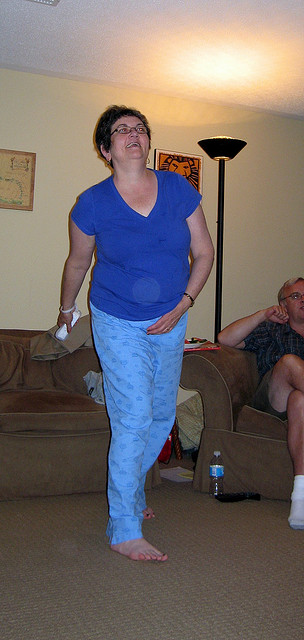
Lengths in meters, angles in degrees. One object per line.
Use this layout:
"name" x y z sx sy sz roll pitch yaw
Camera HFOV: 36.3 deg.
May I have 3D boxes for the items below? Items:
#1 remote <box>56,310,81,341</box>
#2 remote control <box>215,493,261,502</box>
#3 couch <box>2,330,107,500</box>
"remote" -0.298 0.000 1.708 0.026 0.132 0.063 27 -17 28
"remote control" 0.371 0.771 2.029 0.192 0.030 0.119 -1 -8 13
"couch" -0.490 0.403 2.287 0.612 0.615 0.614 1 -4 -18
